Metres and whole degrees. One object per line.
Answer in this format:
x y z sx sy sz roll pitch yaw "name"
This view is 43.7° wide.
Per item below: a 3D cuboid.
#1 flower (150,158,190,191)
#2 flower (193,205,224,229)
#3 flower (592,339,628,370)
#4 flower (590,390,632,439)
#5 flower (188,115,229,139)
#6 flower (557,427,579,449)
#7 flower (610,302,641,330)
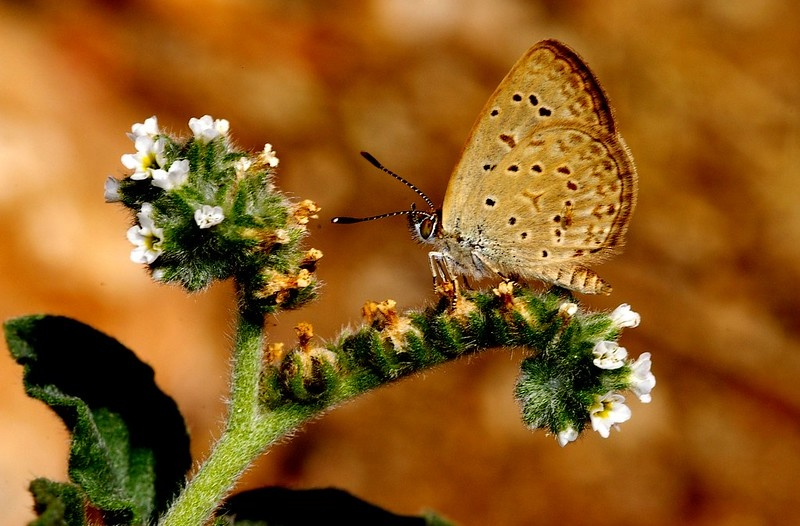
-1.755 -0.675 7.668 0.269 0.188 0.205 -7 -72 9 "flower"
-1.471 -0.359 7.659 0.196 0.081 0.171 -31 -88 -18 "flower"
1.620 0.715 7.749 0.262 0.154 0.203 1 -71 7 "flower"
1.598 1.151 7.700 0.294 0.257 0.293 16 -70 2 "flower"
-1.476 -1.049 7.784 0.210 0.247 0.112 14 -79 38 "flower"
1.295 1.336 7.726 0.170 0.118 0.151 -27 -76 15 "flower"
1.773 0.435 7.912 0.204 0.122 0.169 43 -72 -8 "flower"
